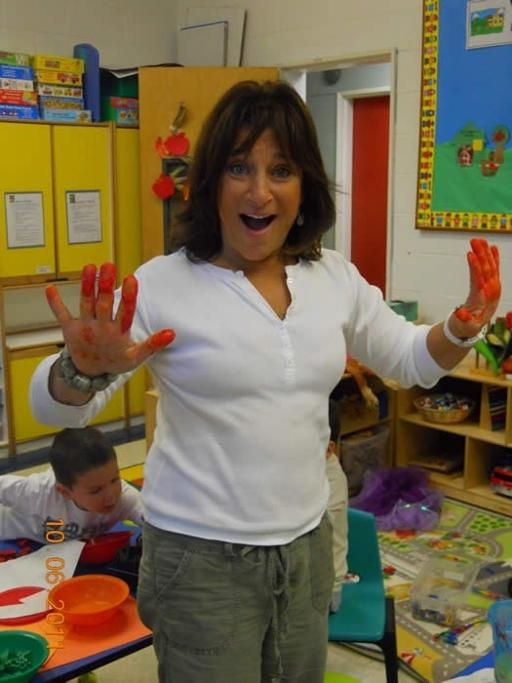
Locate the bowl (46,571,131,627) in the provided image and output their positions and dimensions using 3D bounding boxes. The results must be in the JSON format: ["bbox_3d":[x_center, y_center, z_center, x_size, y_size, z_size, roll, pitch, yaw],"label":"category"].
[{"bbox_3d":[-0.357,0.550,1.225,0.161,0.051,0.164,1,0,0],"label":"bowl"}]

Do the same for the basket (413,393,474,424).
[{"bbox_3d":[1.086,0.385,3.325,0.220,0.095,0.216,1,8,22],"label":"basket"}]

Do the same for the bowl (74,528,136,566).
[{"bbox_3d":[-0.385,0.518,1.456,0.077,0.030,0.073,-17,1,0],"label":"bowl"}]

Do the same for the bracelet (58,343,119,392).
[{"bbox_3d":[-0.203,0.039,0.672,0.054,0.059,0.022,8,45,6],"label":"bracelet"}]

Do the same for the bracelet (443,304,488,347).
[{"bbox_3d":[0.319,-0.021,0.870,0.057,0.064,0.031,27,8,16],"label":"bracelet"}]
